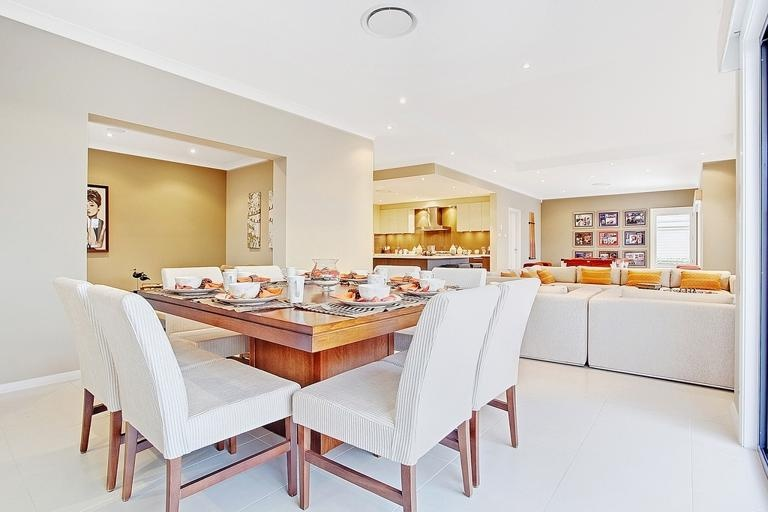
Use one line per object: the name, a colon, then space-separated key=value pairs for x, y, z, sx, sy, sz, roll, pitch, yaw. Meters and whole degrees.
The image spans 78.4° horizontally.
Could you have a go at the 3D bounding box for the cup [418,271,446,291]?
cup: x=0.374 y=0.208 z=3.762 sx=0.177 sy=0.077 sz=0.161 roll=-1 pitch=3 yaw=-41

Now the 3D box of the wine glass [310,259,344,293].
wine glass: x=-0.521 y=0.175 z=4.253 sx=0.286 sy=0.322 sz=0.275 roll=2 pitch=-2 yaw=-12

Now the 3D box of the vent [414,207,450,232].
vent: x=1.343 y=-1.024 z=13.244 sx=1.077 sy=0.740 sz=0.589 roll=3 pitch=4 yaw=40

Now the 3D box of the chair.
chair: x=-0.439 y=0.823 z=3.360 sx=2.609 sy=1.297 sz=1.633 roll=-1 pitch=0 yaw=25

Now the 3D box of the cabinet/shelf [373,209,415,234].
cabinet/shelf: x=0.321 y=-0.978 z=13.362 sx=1.076 sy=0.672 sz=0.345 roll=-1 pitch=-5 yaw=37

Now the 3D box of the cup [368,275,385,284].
cup: x=-0.056 y=0.186 z=3.681 sx=0.088 sy=0.064 sz=0.069 roll=1 pitch=-2 yaw=-1

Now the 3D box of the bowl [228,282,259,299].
bowl: x=-0.984 y=0.243 z=3.327 sx=0.138 sy=0.086 sz=0.131 roll=3 pitch=-4 yaw=0

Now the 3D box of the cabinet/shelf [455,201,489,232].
cabinet/shelf: x=2.296 y=-1.017 z=12.065 sx=0.263 sy=0.683 sz=0.803 roll=2 pitch=-2 yaw=-43

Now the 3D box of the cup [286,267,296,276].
cup: x=-0.774 y=0.131 z=3.923 sx=0.067 sy=0.065 sz=0.086 roll=-1 pitch=-5 yaw=1
